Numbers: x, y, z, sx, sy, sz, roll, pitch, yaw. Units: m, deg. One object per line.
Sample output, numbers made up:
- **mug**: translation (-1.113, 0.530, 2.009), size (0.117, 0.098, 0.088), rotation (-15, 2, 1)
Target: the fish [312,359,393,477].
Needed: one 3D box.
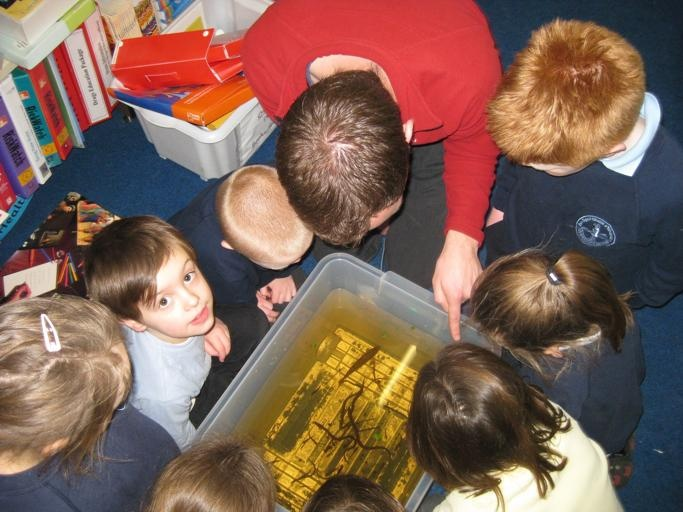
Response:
- **fish**: translation (0.026, 0.512, 1.890), size (0.237, 0.094, 0.376), rotation (-5, 54, -3)
